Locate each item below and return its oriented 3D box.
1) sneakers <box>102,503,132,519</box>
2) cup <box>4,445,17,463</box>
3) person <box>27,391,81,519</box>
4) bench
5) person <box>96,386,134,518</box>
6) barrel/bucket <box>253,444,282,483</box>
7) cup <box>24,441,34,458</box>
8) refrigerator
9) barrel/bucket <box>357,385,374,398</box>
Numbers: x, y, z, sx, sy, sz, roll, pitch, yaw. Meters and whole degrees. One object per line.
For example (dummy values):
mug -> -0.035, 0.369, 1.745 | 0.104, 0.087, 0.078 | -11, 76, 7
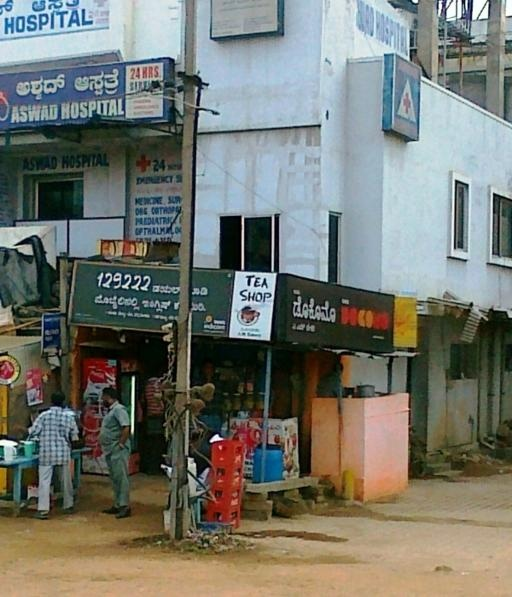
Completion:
sneakers -> -1.913, 2.908, 15.959 | 0.412, 0.219, 0.153 | 2, -3, 25
cup -> -3.334, 2.093, 15.779 | 0.157, 0.198, 0.297 | 1, -3, -6
person -> -2.806, 2.145, 16.035 | 0.529, 1.679, 0.776 | -1, -3, 35
bench -> 0.450, 2.845, 16.582 | 0.473, 0.496, 1.584 | -2, -3, 37
person -> -1.930, 2.120, 16.069 | 0.432, 1.757, 0.517 | 1, -2, -7
barrel/bucket -> 0.202, 2.370, 16.685 | 0.398, 0.554, 0.443 | 2, -10, -7
cup -> -3.129, 2.077, 16.028 | 0.154, 0.297, 0.169 | 3, -12, -15
refrigerator -> -2.329, 1.962, 18.893 | 0.626, 1.961, 0.862 | -3, -15, 15
barrel/bucket -> 1.771, 1.477, 18.516 | 0.269, 0.175, 0.391 | 0, -3, 1
